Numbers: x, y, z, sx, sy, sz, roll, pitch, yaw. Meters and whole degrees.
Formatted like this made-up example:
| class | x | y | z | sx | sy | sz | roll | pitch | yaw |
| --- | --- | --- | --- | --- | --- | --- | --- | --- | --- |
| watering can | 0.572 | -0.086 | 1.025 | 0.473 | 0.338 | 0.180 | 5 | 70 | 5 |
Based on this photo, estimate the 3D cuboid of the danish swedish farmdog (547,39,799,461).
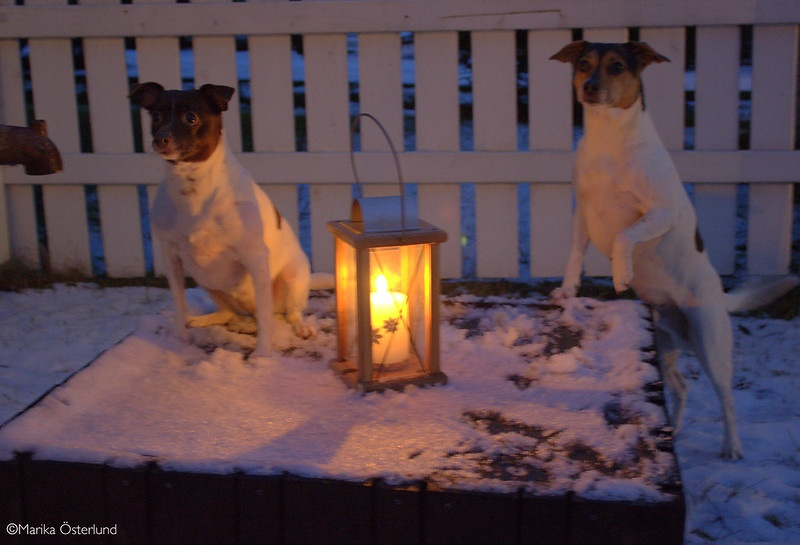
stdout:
| class | x | y | z | sx | sy | sz | roll | pitch | yaw |
| --- | --- | --- | --- | --- | --- | --- | --- | --- | --- |
| danish swedish farmdog | 1.368 | -0.129 | 6.239 | 0.987 | 2.219 | 0.606 | -1 | 2 | -18 |

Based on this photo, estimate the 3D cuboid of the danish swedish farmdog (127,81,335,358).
| class | x | y | z | sx | sy | sz | roll | pitch | yaw |
| --- | --- | --- | --- | --- | --- | --- | --- | --- | --- |
| danish swedish farmdog | -0.966 | -0.283 | 6.245 | 0.591 | 1.417 | 0.896 | 2 | 3 | 43 |
